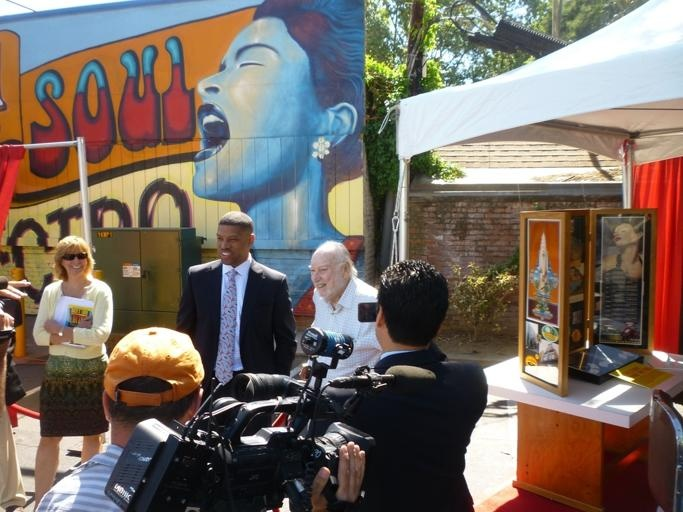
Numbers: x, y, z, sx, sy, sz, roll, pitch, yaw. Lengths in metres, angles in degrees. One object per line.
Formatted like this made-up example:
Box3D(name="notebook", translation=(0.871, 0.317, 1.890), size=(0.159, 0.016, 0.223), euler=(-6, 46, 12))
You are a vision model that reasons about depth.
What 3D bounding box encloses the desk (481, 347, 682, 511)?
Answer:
Box3D(name="desk", translation=(1.785, 1.301, 4.747), size=(1.666, 1.160, 0.892), euler=(-5, 7, -42))
